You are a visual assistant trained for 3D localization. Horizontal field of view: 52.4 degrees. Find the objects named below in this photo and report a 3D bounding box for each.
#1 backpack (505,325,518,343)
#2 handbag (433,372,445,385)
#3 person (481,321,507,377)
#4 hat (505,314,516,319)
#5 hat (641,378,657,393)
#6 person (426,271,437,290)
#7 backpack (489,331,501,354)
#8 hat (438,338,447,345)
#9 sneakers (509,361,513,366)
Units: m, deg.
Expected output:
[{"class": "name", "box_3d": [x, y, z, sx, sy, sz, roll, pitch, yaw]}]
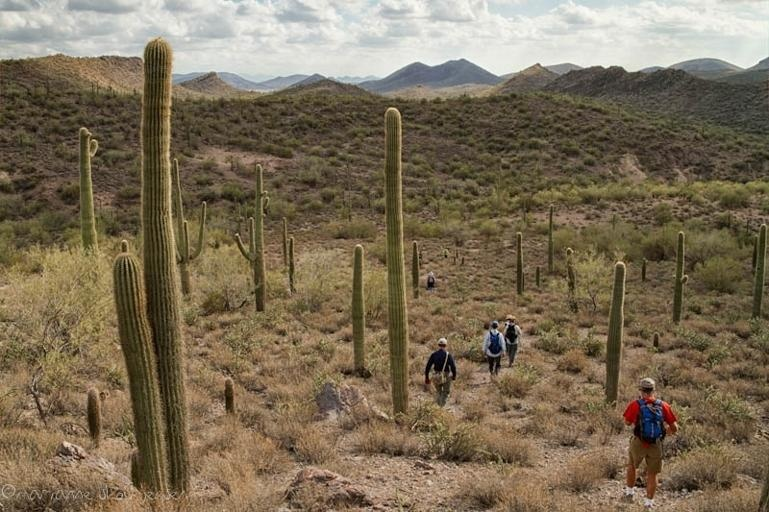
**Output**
[{"class": "backpack", "box_3d": [5.365, 3.275, 32.933, 0.608, 0.963, 0.462, 1, -3, 2]}, {"class": "handbag", "box_3d": [2.033, 4.528, 29.451, 0.557, 0.660, 0.301, -3, -3, 3]}, {"class": "person", "box_3d": [4.551, 3.850, 32.140, 0.942, 2.498, 0.552, 0, 22, 4]}, {"class": "hat", "box_3d": [5.344, 2.600, 33.052, 0.427, 0.212, 0.598, 0, -4, 7]}, {"class": "hat", "box_3d": [8.885, 4.330, 26.315, 0.440, 0.401, 0.629, 4, 9, 25]}, {"class": "person", "box_3d": [2.635, 1.322, 43.776, 0.558, 0.932, 1.683, 1, 4, 3]}, {"class": "backpack", "box_3d": [4.510, 3.575, 31.978, 0.580, 0.861, 0.250, 4, -6, 0]}, {"class": "hat", "box_3d": [2.179, 3.192, 29.495, 0.250, 0.261, 0.741, 1, 4, 0]}, {"class": "sneakers", "box_3d": [5.341, 4.522, 32.827, 0.186, 0.207, 0.304, 2, 4, 9]}]
